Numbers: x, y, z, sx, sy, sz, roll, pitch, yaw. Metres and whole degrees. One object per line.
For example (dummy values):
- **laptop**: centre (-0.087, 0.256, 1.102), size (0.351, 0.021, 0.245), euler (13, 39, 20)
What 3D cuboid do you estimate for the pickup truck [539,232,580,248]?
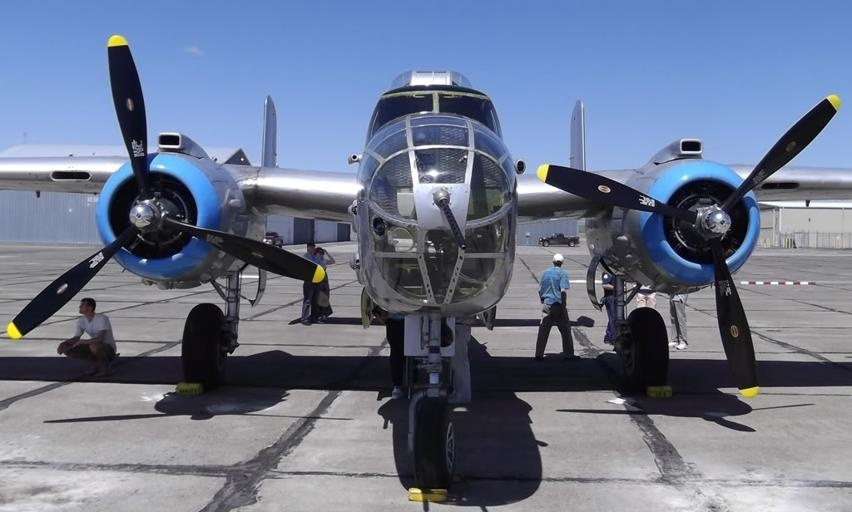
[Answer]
- **pickup truck**: centre (13.221, -1.514, 68.155), size (3.490, 1.066, 1.789), euler (2, 2, 2)

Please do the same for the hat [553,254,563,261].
- **hat**: centre (2.775, 0.049, 14.352), size (0.172, 0.195, 0.190), euler (2, -25, -11)

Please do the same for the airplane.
- **airplane**: centre (-1.126, -0.537, 13.320), size (9.764, 3.558, 8.978), euler (0, 3, -1)
